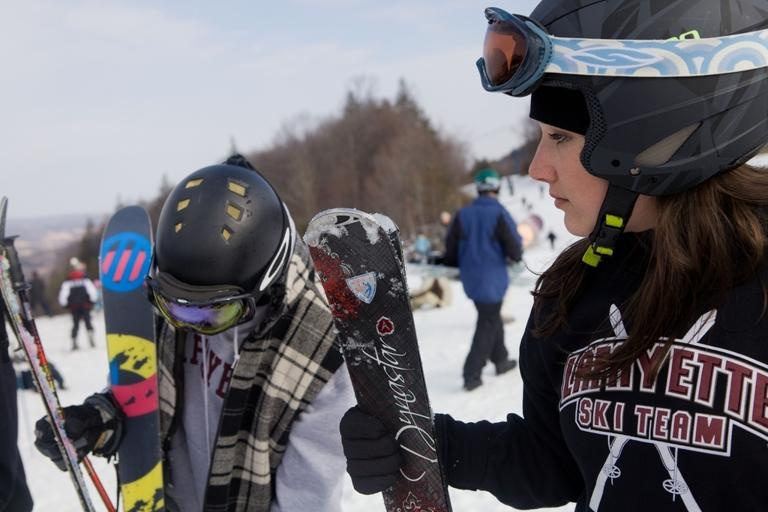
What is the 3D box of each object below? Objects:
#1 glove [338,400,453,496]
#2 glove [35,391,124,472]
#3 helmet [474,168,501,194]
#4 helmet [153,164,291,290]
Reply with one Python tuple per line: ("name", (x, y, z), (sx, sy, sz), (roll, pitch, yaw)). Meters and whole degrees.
("glove", (0.002, 0.858, 4.627), (0.291, 0.422, 0.136), (-30, -14, 25))
("glove", (-1.384, 0.806, 5.013), (0.389, 0.306, 0.167), (4, 26, -49))
("helmet", (0.772, -0.530, 8.088), (0.146, 0.191, 0.197), (2, 25, 2))
("helmet", (-0.606, -0.061, 4.732), (0.435, 0.602, 0.518), (22, -7, 13))
